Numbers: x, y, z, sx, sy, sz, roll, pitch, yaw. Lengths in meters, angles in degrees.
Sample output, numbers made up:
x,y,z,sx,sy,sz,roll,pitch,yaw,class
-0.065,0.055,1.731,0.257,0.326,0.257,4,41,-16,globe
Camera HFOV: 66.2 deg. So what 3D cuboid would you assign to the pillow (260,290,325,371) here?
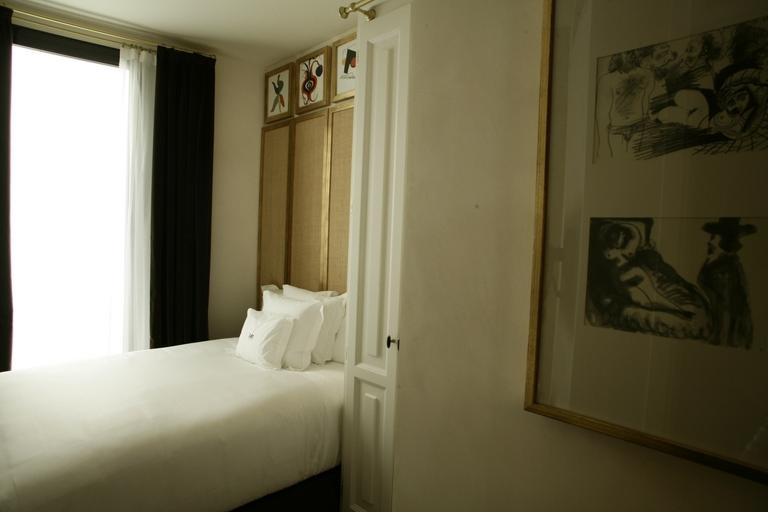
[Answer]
x,y,z,sx,sy,sz,roll,pitch,yaw,class
-0.600,0.514,3.855,0.141,0.309,0.411,-2,2,-38,pillow
